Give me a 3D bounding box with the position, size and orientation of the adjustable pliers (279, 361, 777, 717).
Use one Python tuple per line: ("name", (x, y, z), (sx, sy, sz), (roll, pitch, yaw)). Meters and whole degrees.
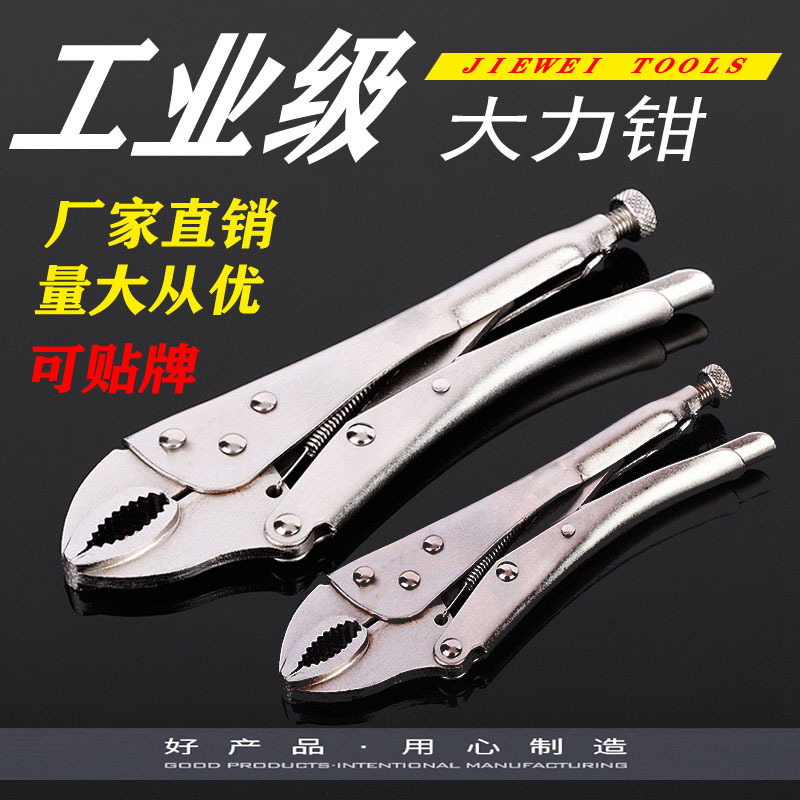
("adjustable pliers", (0.208, 0.160, 1.223), (0.699, 0.091, 0.203), (-19, 44, -24))
